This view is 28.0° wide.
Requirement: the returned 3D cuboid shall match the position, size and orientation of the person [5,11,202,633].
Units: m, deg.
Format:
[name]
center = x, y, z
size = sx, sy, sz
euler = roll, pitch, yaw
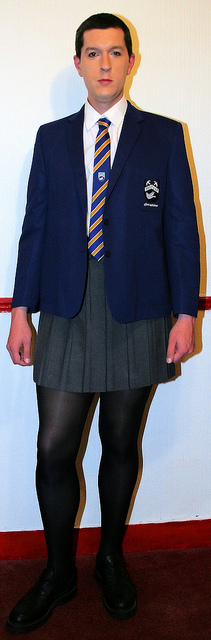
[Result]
[person]
center = -0.058, -0.013, 1.158
size = 0.677, 1.336, 0.487
euler = -19, 32, -29
